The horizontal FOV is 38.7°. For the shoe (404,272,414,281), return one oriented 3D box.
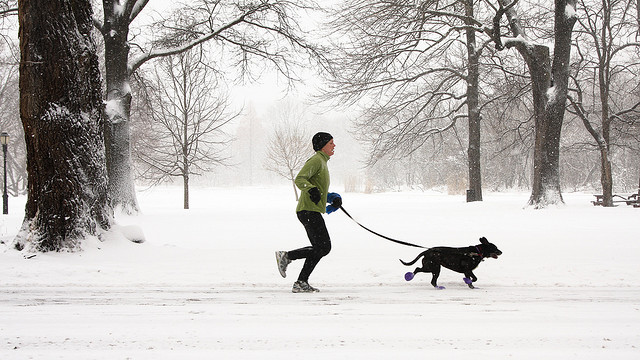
[{"bbox_3d":[4.194,4.557,42.763,0.414,0.398,0.311,0,-2,-1],"label":"shoe"}]
